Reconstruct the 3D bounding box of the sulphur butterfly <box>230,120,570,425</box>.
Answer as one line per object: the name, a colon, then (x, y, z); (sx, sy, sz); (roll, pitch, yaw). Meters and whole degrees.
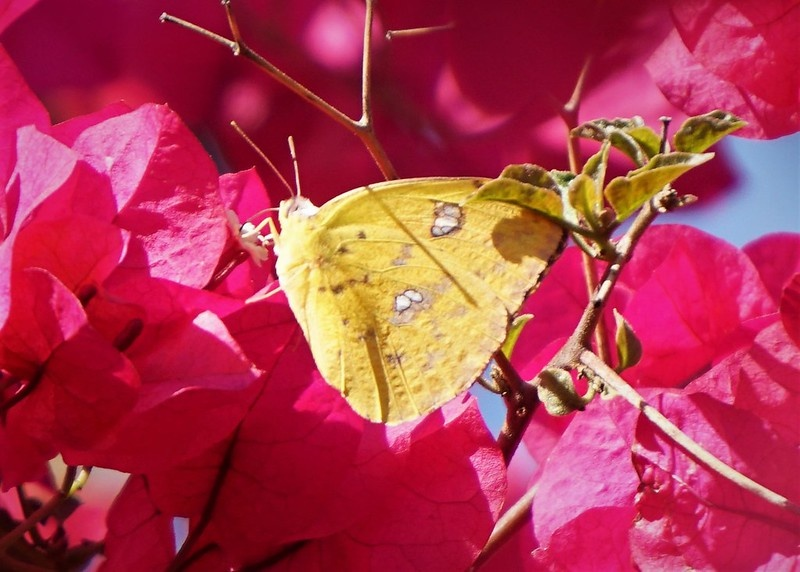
sulphur butterfly: (-0.010, 0.030, 0.917); (0.214, 0.151, 0.227); (29, 34, 30)
